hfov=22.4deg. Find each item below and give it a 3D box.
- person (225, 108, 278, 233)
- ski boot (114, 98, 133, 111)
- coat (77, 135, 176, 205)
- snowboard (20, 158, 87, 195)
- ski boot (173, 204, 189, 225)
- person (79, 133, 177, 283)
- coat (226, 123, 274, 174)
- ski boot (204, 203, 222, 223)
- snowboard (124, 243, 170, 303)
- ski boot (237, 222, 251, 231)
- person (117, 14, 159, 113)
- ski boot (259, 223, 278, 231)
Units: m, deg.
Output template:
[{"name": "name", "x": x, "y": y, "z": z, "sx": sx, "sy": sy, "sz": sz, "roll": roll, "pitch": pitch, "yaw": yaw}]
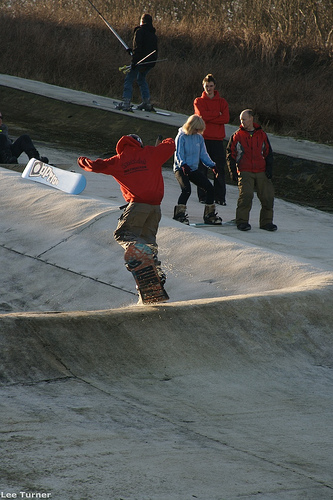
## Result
[{"name": "person", "x": 0.951, "y": -0.840, "z": 9.133, "sx": 0.646, "sy": 1.334, "sz": 0.448, "roll": 6, "pitch": 16, "yaw": 2}, {"name": "ski boot", "x": -0.781, "y": -2.651, "z": 15.290, "sx": 0.299, "sy": 0.256, "sz": 0.552, "roll": 3, "pitch": 14, "yaw": -5}, {"name": "coat", "x": -0.319, "y": -0.640, "z": 6.766, "sx": 0.741, "sy": 0.538, "sz": 0.315, "roll": 4, "pitch": 16, "yaw": -3}, {"name": "snowboard", "x": -1.393, "y": -0.877, "z": 9.980, "sx": 1.161, "sy": 0.306, "sz": 0.177, "roll": 19, "pitch": 0, "yaw": 42}, {"name": "ski boot", "x": 0.158, "y": -0.380, "z": 9.062, "sx": 0.169, "sy": 0.205, "sz": 0.234, "roll": 5, "pitch": 14, "yaw": 0}, {"name": "person", "x": -0.339, "y": -0.441, "z": 6.818, "sx": 0.612, "sy": 0.962, "sz": 0.532, "roll": 13, "pitch": 17, "yaw": 26}, {"name": "coat", "x": 0.909, "y": -1.102, "z": 9.132, "sx": 0.497, "sy": 0.552, "sz": 0.240, "roll": 5, "pitch": 16, "yaw": 3}, {"name": "ski boot", "x": 0.512, "y": -0.397, "z": 9.267, "sx": 0.193, "sy": 0.229, "sz": 0.143, "roll": 5, "pitch": 15, "yaw": 3}, {"name": "snowboard", "x": -0.160, "y": 0.195, "z": 6.534, "sx": 0.295, "sy": 0.460, "sz": 0.225, "roll": -20, "pitch": -7, "yaw": 4}, {"name": "ski boot", "x": 0.858, "y": -0.252, "z": 9.218, "sx": 0.156, "sy": 0.099, "sz": 0.118, "roll": 2, "pitch": 15, "yaw": -8}, {"name": "person", "x": -0.471, "y": -3.294, "z": 14.824, "sx": 0.573, "sy": 1.665, "sz": 1.290, "roll": 4, "pitch": 15, "yaw": -4}, {"name": "ski boot", "x": 1.146, "y": -0.257, "z": 9.403, "sx": 0.197, "sy": 0.091, "sz": 0.142, "roll": 5, "pitch": 14, "yaw": 3}]
